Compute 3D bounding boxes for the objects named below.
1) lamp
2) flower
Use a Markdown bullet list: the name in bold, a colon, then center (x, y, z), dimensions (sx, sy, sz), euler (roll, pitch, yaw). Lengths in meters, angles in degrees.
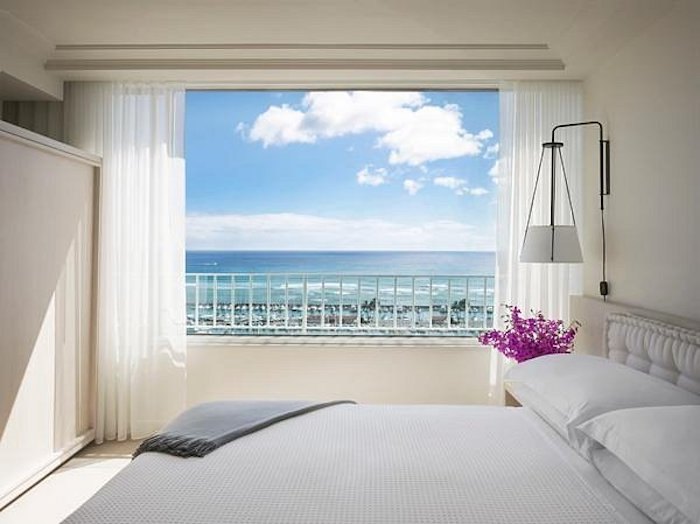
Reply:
- **lamp**: center (1.466, -0.445, 3.252), dimensions (0.533, 1.051, 0.848), euler (3, 11, 20)
- **flower**: center (1.229, 0.487, 3.287), dimensions (0.443, 0.377, 0.517), euler (-4, 6, 4)
